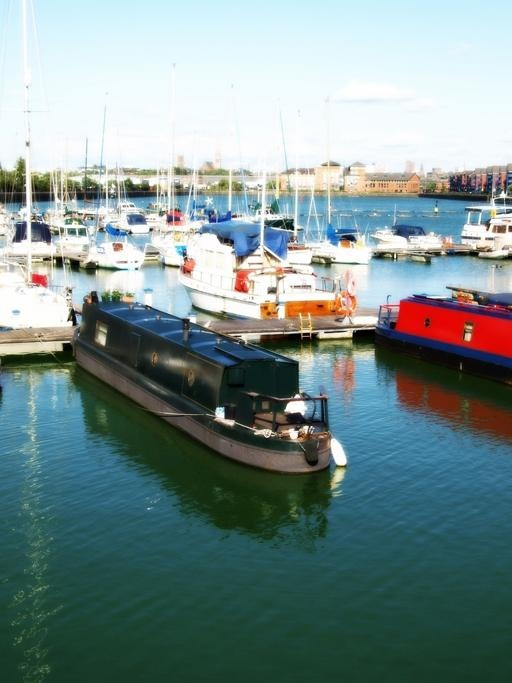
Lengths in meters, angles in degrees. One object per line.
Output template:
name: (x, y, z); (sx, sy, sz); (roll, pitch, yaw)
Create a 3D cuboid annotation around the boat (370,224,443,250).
boat: (18.658, -12.647, 81.236); (6.978, 2.342, 4.213); (2, 12, 7)

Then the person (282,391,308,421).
person: (1.077, 1.873, 18.431); (0.584, 0.439, 0.798); (1, 11, 1)
